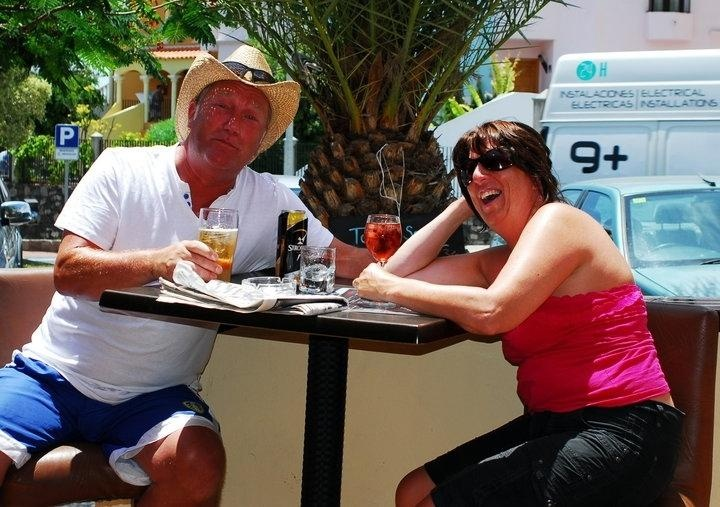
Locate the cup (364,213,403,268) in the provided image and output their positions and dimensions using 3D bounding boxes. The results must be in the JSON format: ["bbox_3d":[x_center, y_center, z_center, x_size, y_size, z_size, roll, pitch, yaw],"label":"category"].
[{"bbox_3d":[0.122,-0.056,2.767,0.202,0.321,0.190,2,2,0],"label":"cup"}]

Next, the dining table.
[{"bbox_3d":[-0.213,0.441,2.411,1.129,1.133,1.155,5,-1,35],"label":"dining table"}]
